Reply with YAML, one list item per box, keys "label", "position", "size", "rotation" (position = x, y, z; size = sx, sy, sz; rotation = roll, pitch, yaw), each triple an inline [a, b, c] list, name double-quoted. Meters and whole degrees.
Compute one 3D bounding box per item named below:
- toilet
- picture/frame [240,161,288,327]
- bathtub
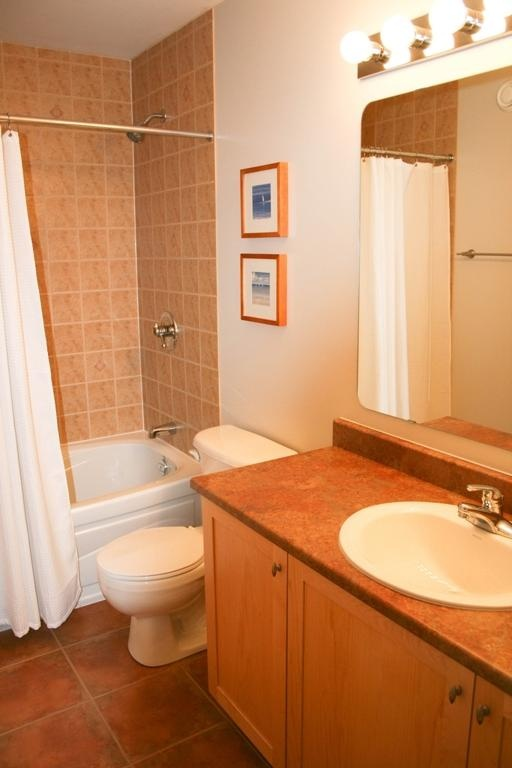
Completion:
- label: "toilet"
  position: [-0.252, 0.610, 2.089]
  size: [0.648, 0.722, 0.457]
  rotation: [-9, 23, -24]
- label: "picture/frame"
  position: [0.020, -0.519, 2.127]
  size: [0.092, 0.592, 0.379]
  rotation: [-3, 8, -18]
- label: "bathtub"
  position: [-0.631, 0.669, 2.821]
  size: [0.559, 0.372, 0.803]
  rotation: [-4, 11, -21]
